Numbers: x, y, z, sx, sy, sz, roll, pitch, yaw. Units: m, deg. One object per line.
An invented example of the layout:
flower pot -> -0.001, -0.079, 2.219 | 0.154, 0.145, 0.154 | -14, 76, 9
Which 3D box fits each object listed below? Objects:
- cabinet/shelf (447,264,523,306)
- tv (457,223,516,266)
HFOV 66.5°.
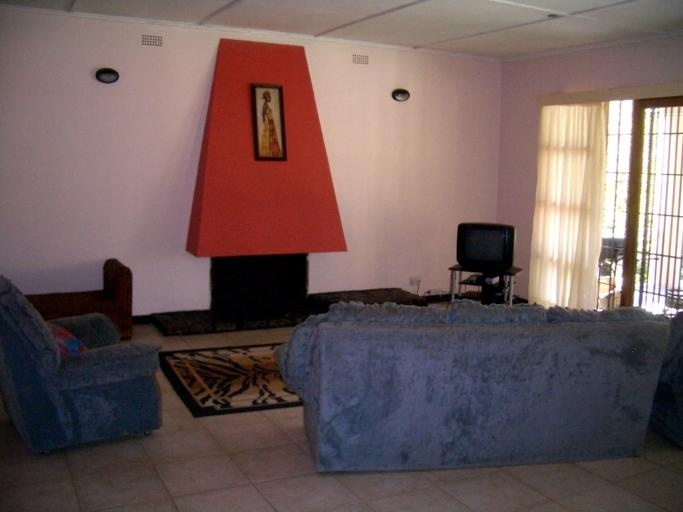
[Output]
cabinet/shelf -> 1.707, 0.362, 6.358 | 0.729, 0.513, 0.412 | 1, 10, 13
tv -> 1.708, -0.160, 6.151 | 0.658, 0.546, 0.369 | 6, 14, 24
